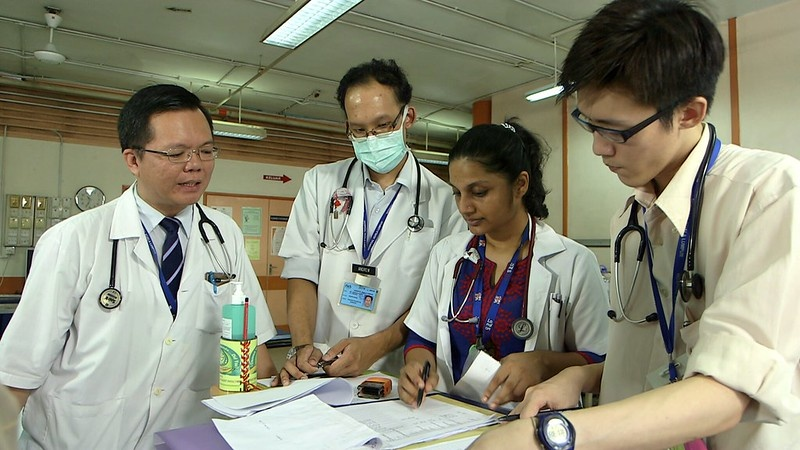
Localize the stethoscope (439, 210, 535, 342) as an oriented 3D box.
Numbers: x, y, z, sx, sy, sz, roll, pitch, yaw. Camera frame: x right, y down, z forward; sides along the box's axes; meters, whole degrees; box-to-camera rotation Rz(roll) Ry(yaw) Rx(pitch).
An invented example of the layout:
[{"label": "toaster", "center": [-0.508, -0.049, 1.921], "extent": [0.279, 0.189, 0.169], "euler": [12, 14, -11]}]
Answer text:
[{"label": "stethoscope", "center": [0.516, 0.279, 3.284], "extent": [0.412, 0.726, 0.063], "euler": [16, -3, -2]}]

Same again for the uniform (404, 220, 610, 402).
[{"label": "uniform", "center": [0.584, 0.502, 3.152], "extent": [0.904, 0.942, 0.511], "euler": [15, -6, 31]}]

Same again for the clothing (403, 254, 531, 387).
[{"label": "clothing", "center": [0.400, 0.545, 3.173], "extent": [0.661, 0.637, 0.347], "euler": [6, -14, 25]}]

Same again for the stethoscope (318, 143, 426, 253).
[{"label": "stethoscope", "center": [-0.289, -0.140, 3.610], "extent": [0.466, 0.610, 0.128], "euler": [9, -23, 8]}]

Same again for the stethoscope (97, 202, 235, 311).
[{"label": "stethoscope", "center": [-1.304, 0.239, 3.285], "extent": [0.470, 0.635, 0.187], "euler": [-3, -46, -16]}]

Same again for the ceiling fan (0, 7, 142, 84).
[{"label": "ceiling fan", "center": [-3.880, -1.997, 6.734], "extent": [1.389, 0.484, 0.680], "euler": [5, -5, -44]}]
